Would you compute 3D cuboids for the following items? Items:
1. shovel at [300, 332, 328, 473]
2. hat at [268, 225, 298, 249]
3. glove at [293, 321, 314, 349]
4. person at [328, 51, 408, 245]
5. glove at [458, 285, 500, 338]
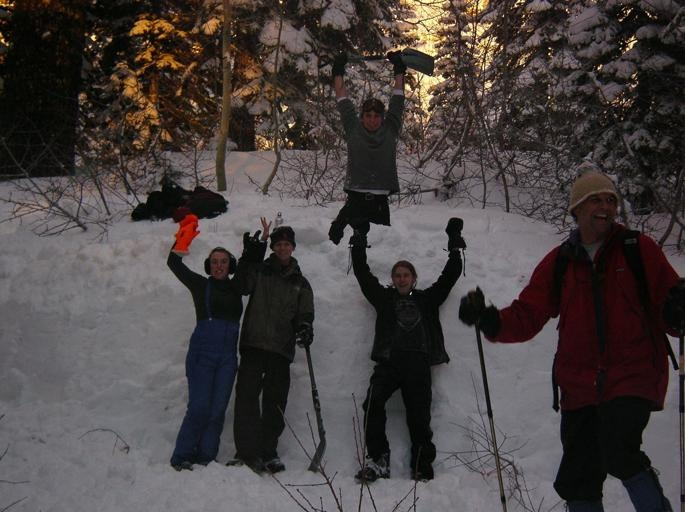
[{"bbox_3d":[-0.424,1.795,8.700,0.155,1.563,0.300,-16,-15,21],"label":"shovel"},{"bbox_3d":[-0.856,-0.272,9.542,0.310,0.253,0.265,-6,-3,-43],"label":"hat"},{"bbox_3d":[-0.533,1.066,8.933,0.233,0.350,0.120,-3,-9,37],"label":"glove"},{"bbox_3d":[0.357,-1.740,10.161,1.035,2.525,0.847,3,20,2],"label":"person"},{"bbox_3d":[1.395,0.592,6.993,0.348,0.561,0.240,-16,21,44],"label":"glove"}]
